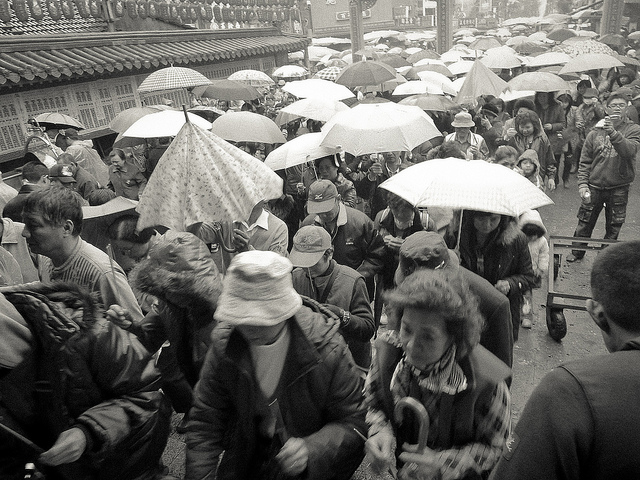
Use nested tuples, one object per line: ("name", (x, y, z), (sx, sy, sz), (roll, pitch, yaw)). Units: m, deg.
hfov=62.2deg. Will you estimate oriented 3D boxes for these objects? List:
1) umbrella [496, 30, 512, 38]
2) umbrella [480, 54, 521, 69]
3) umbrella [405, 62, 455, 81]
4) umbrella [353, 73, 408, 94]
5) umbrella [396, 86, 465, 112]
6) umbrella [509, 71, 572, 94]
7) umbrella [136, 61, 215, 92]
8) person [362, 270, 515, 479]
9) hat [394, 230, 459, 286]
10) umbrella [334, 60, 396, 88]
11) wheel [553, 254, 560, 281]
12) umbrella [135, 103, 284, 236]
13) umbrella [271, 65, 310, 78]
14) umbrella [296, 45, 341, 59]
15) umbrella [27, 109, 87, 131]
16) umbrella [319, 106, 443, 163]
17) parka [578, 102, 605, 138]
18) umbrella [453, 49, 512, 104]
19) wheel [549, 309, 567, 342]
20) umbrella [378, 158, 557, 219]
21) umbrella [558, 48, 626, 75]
("umbrella", (10.742, -12.121, 31.112), (0.956, 0.308, 0.867), (-11, 24, -7))
("umbrella", (4.729, -4.697, 13.890), (0.725, 0.253, 0.729), (-3, 33, -4))
("umbrella", (2.757, -4.458, 13.875), (0.969, 0.408, 0.962), (-17, 32, -6))
("umbrella", (1.708, -3.948, 13.484), (1.116, 0.391, 1.098), (-26, 20, -14))
("umbrella", (2.117, -2.638, 10.121), (0.944, 0.463, 0.941), (-3, 27, -4))
("umbrella", (4.332, -3.124, 10.523), (1.034, 0.413, 0.941), (3, 16, 19))
("umbrella", (-2.786, -3.075, 10.060), (1.255, 0.436, 1.002), (-5, 15, -7))
("person", (0.688, 0.843, 3.145), (0.876, 1.258, 0.570), (-2, 15, 4))
("hat", (0.870, 0.165, 4.283), (0.518, 0.411, 0.393), (-1, 15, 6))
("umbrella", (0.914, -3.385, 10.766), (1.236, 0.499, 0.749), (-4, 15, -3))
("wheel", (3.199, 0.390, 7.176), (0.065, 0.436, 0.397), (4, 17, 24))
("umbrella", (-1.070, -0.653, 4.845), (1.451, 0.725, 1.455), (10, 20, 30))
("umbrella", (-0.991, -5.346, 16.728), (0.904, 0.347, 1.602), (0, 16, 10))
("umbrella", (0.058, -9.314, 26.188), (1.338, 0.623, 2.304), (-3, 15, 0))
("umbrella", (-4.832, -2.172, 9.754), (0.868, 0.311, 0.530), (7, 18, 32))
("umbrella", (0.759, -1.363, 6.972), (1.541, 0.751, 1.054), (-3, 15, -1))
("parka", (5.660, -2.536, 11.094), (0.484, 0.646, 0.433), (3, 17, 22))
("umbrella", (3.027, -2.868, 10.011), (0.890, 0.917, 0.899), (-28, 33, 3))
("wheel", (2.717, 0.985, 6.061), (0.174, 0.394, 0.160), (-3, 15, 1))
("umbrella", (1.306, -0.488, 4.751), (1.394, 0.384, 0.695), (5, 17, 26))
("umbrella", (6.019, -3.972, 11.936), (0.814, 0.343, 0.809), (-23, 22, -5))
